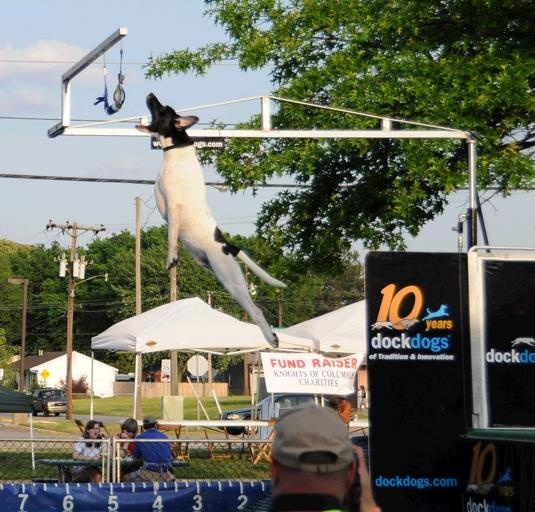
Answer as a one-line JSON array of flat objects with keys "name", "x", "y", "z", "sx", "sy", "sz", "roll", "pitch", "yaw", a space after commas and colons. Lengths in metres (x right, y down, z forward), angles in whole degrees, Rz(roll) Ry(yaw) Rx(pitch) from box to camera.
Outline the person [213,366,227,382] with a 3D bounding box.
[{"name": "person", "x": -2.638, "y": 6.365, "z": 96.694, "sx": 0.723, "sy": 0.946, "sz": 0.405, "roll": 0, "pitch": -7, "yaw": -42}]
